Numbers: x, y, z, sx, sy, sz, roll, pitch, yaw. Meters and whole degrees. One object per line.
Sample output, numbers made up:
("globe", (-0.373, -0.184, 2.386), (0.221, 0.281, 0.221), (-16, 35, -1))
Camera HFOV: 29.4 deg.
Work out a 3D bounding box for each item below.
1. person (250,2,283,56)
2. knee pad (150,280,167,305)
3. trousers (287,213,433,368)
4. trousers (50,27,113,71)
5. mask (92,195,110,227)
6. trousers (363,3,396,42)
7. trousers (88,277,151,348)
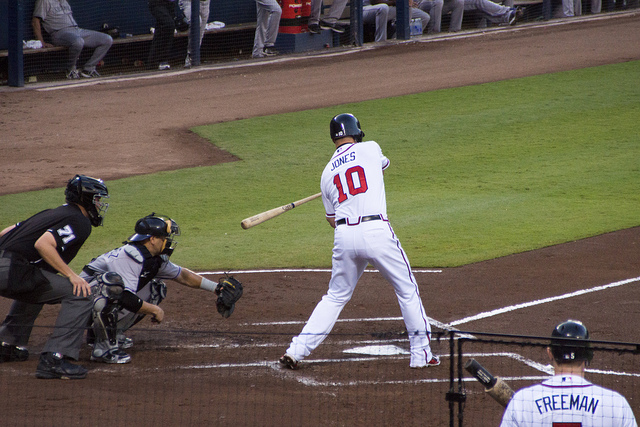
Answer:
("person", (-1.225, -4.318, 28.198), (0.681, 1.209, 1.427), (1, 11, -2))
("knee pad", (-2.196, 1.049, 16.445), (0.261, 0.289, 0.133), (12, -10, -25))
("trousers", (0.576, 0.984, 15.815), (1.798, 1.967, 0.640), (2, 13, 2))
("trousers", (-5.068, -3.529, 25.940), (1.152, 0.927, 0.648), (-9, 16, -42))
("mask", (-3.039, -0.045, 16.850), (0.305, 0.458, 0.407), (6, 5, -12))
("trousers", (1.422, -4.773, 30.138), (0.801, 0.940, 0.446), (2, 13, 1))
("trousers", (-2.632, 1.296, 16.211), (0.653, 0.908, 0.447), (20, -10, -24))
